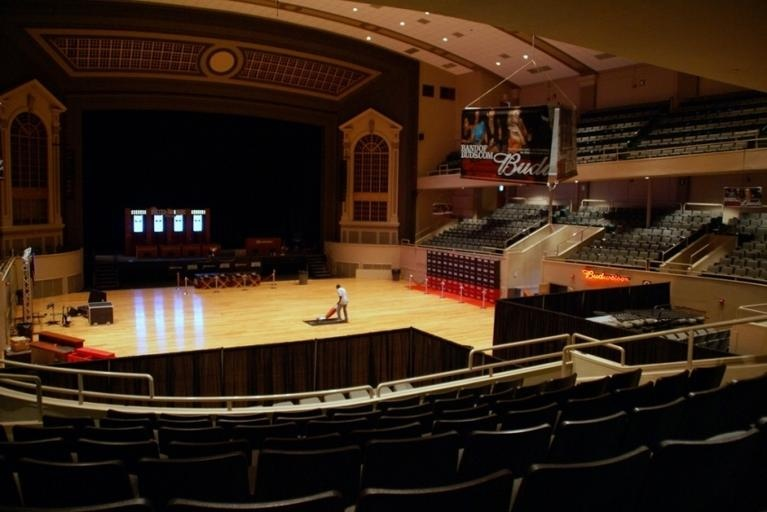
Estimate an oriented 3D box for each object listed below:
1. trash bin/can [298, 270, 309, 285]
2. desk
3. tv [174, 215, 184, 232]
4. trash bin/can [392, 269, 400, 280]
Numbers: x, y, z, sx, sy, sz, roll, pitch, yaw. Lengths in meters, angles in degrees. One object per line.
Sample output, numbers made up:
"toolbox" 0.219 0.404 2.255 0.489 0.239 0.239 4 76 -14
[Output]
"trash bin/can" -3.458 0.928 24.683 0.414 0.759 0.418 9 13 39
"desk" -7.243 0.250 24.518 5.797 1.919 3.244 -2 3 -20
"tv" -9.270 -1.488 25.957 0.461 0.746 0.115 -2 3 -20
"trash bin/can" 0.548 0.857 26.263 0.452 0.481 0.455 2 3 35
